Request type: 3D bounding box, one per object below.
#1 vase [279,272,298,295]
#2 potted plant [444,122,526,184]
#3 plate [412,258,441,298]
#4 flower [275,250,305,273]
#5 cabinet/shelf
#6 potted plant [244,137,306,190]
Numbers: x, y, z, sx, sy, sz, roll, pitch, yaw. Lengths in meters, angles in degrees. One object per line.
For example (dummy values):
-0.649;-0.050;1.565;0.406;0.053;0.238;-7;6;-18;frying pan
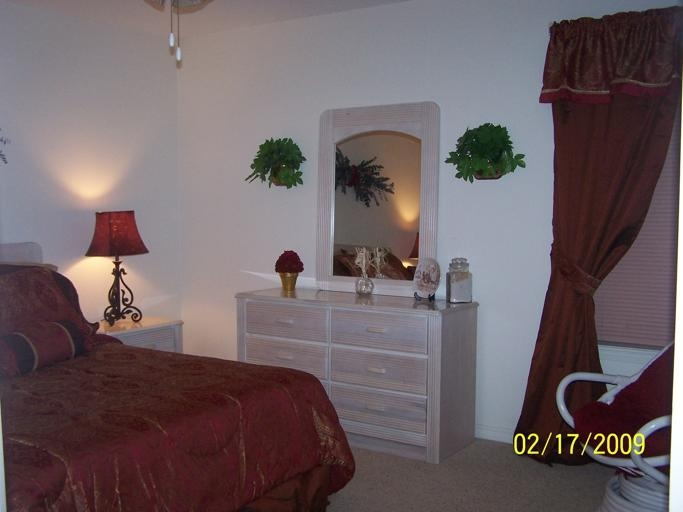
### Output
-0.403;0.218;4.248;0.160;0.187;0.149;0;4;-33;vase
1.124;-0.739;3.856;0.554;0.420;0.619;1;3;12;potted plant
0.608;0.152;3.798;0.187;0.289;0.088;3;-2;22;plate
-0.414;0.023;4.222;0.171;0.154;0.179;-2;3;-19;flower
0.179;0.802;3.460;0.997;0.664;0.369;2;3;32;cabinet/shelf
-0.576;-0.795;4.471;0.554;0.430;0.249;10;13;23;potted plant
